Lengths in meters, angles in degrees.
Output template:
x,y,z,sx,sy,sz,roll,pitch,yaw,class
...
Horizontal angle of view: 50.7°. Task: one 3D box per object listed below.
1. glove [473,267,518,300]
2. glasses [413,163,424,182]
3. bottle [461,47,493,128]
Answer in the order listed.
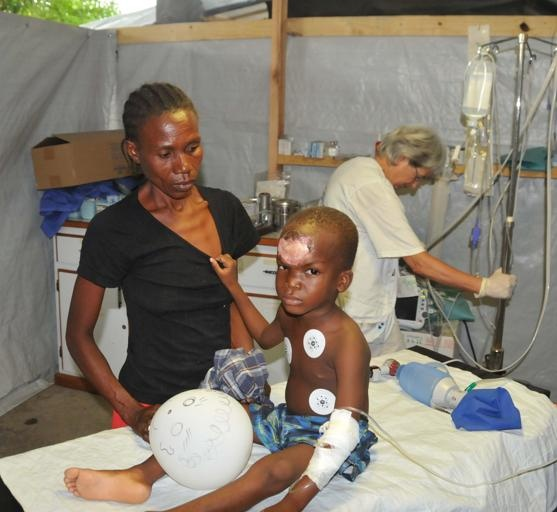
x,y,z,sx,sy,sz,roll,pitch,yaw,class
0.942,0.129,2.536,0.150,0.136,0.058,13,-16,26,glove
0.635,-0.369,2.632,0.018,0.053,0.044,17,-19,-42,glasses
0.887,-0.730,2.585,0.126,0.325,0.183,3,14,17,bottle
